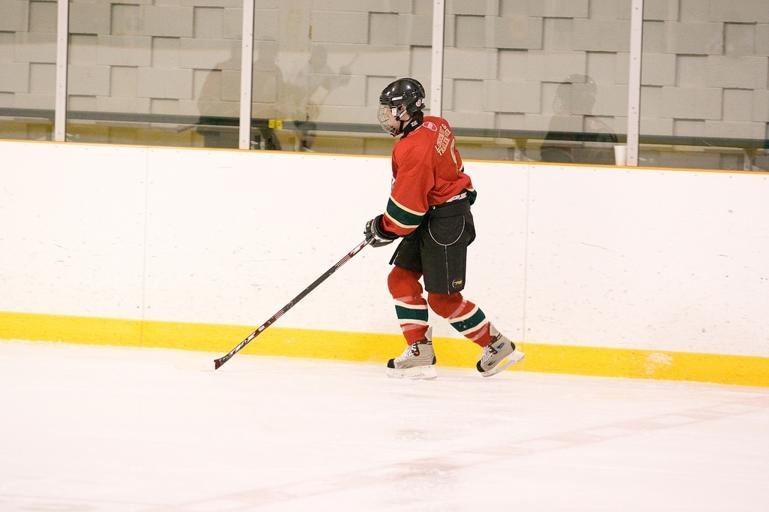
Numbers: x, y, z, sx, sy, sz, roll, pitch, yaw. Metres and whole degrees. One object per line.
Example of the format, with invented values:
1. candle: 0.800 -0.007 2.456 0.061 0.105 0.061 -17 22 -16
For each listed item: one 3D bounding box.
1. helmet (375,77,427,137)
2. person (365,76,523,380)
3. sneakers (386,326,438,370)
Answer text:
1. helmet: 0.101 -0.883 6.371 0.321 0.287 0.248 -5 7 13
2. person: 0.315 -0.154 6.258 0.865 1.739 0.364 5 0 -2
3. sneakers: 0.163 0.590 6.436 0.384 0.264 0.128 -10 -5 33
